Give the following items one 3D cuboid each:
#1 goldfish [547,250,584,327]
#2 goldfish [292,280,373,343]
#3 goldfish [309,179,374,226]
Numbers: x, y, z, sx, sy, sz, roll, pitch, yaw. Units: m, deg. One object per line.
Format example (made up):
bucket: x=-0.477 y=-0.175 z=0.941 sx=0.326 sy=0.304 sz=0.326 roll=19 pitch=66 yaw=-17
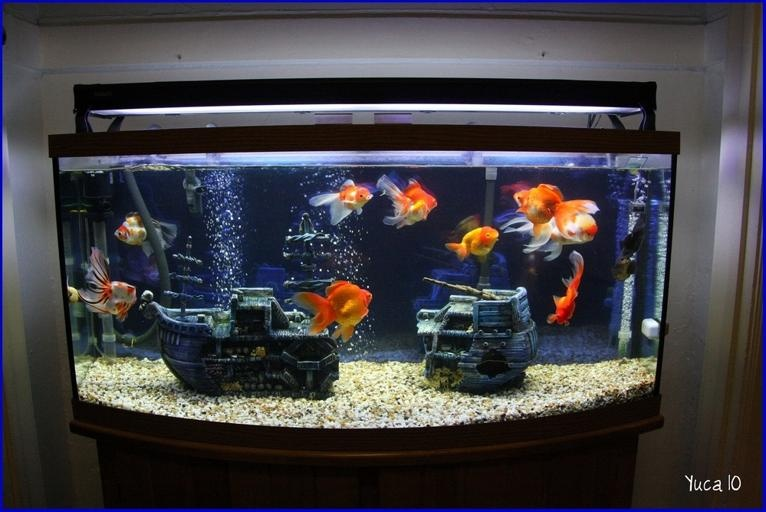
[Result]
goldfish: x=0.977 y=0.158 z=3.641 sx=0.128 sy=0.368 sz=0.233 roll=15 pitch=18 yaw=-21
goldfish: x=-0.240 y=0.289 z=3.656 sx=0.550 sy=0.336 sz=0.218 roll=-5 pitch=9 yaw=-13
goldfish: x=-0.212 y=-0.289 z=3.587 sx=0.236 sy=0.208 sz=0.257 roll=11 pitch=16 yaw=40
